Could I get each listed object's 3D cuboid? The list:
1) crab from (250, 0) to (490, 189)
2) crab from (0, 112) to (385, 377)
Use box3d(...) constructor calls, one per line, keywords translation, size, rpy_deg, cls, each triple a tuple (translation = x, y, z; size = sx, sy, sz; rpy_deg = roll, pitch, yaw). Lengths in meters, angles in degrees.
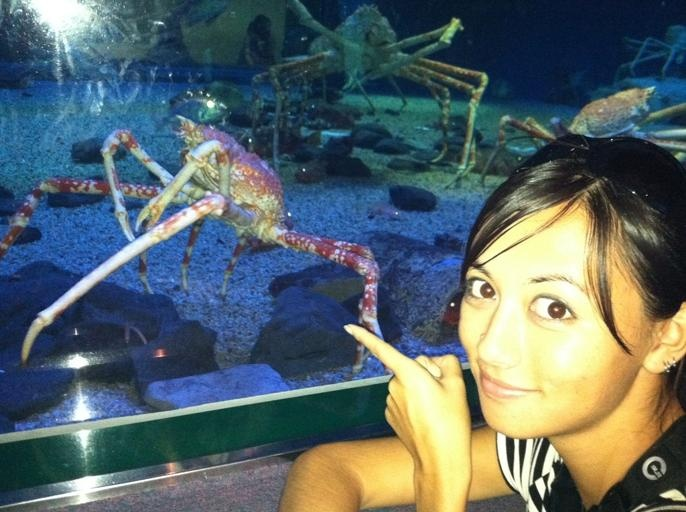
box3d(translation=(0.190, -0.699, 2.549), size=(0.949, 0.479, 0.690), rpy_deg=(4, -8, 5), cls="crab")
box3d(translation=(-0.513, -0.034, 2.424), size=(0.960, 0.593, 1.221), rpy_deg=(29, 14, 38), cls="crab")
